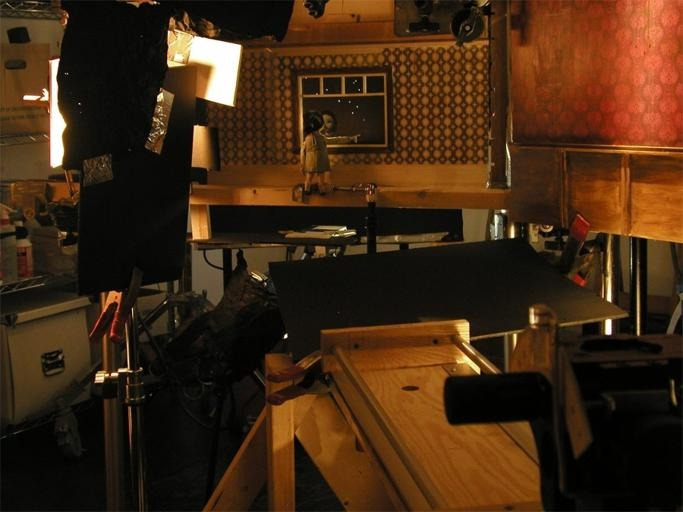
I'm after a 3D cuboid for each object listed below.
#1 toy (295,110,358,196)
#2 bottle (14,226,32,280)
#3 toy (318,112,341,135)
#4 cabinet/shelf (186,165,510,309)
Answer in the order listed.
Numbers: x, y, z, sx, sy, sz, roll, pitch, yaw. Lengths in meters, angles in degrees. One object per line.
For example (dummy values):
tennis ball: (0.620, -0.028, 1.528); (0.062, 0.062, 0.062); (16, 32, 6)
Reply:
toy: (-0.085, -0.553, 3.402); (0.241, 0.438, 0.159); (0, 9, -1)
bottle: (-1.907, -0.043, 3.911); (0.068, 0.316, 0.262); (-2, 9, -15)
toy: (-0.045, -0.727, 3.433); (0.102, 0.147, 0.111); (-3, 12, 3)
cabinet/shelf: (-0.054, -0.273, 3.504); (1.841, 0.475, 0.319); (4, 9, 19)
